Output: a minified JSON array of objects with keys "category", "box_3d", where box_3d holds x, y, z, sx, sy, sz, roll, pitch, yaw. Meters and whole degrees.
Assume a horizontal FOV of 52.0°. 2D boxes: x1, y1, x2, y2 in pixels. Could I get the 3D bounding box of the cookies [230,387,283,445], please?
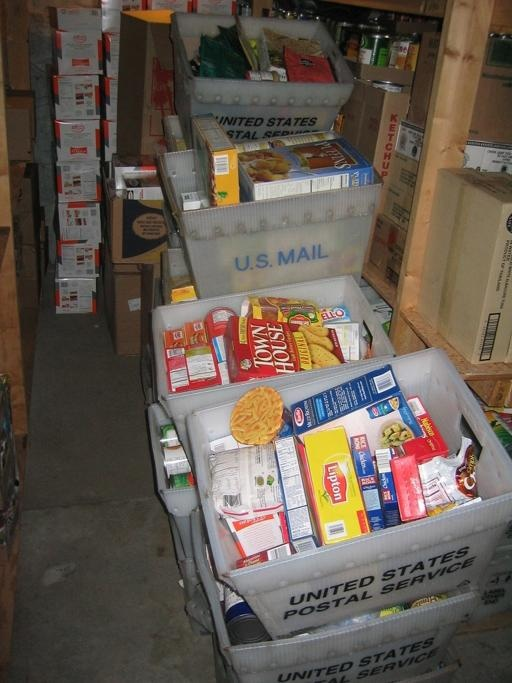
[{"category":"cookies","box_3d":[0.000,0.157,1.111,0.109,0.080,0.085,-4,32,-10]}]
